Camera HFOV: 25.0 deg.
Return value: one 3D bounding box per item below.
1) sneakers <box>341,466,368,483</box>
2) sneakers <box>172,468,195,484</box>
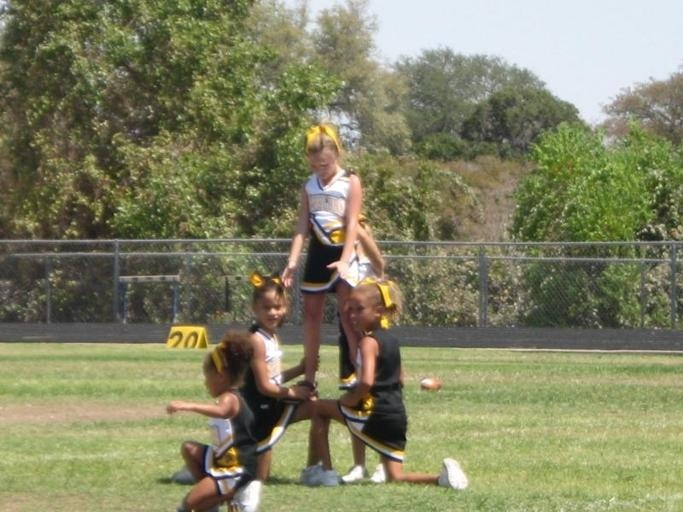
[{"bbox_3d":[0.206,3.583,25.329,0.402,0.177,0.232,-8,4,3],"label":"sneakers"},{"bbox_3d":[-2.627,3.580,25.171,0.243,0.105,0.300,10,-18,-42],"label":"sneakers"}]
